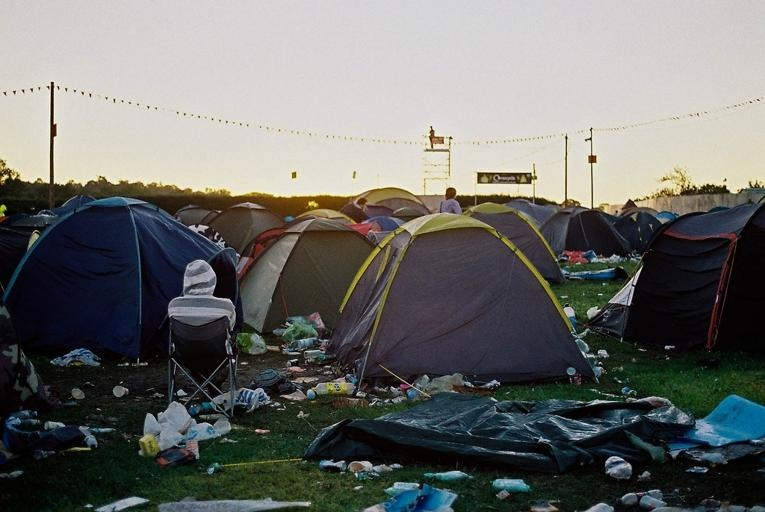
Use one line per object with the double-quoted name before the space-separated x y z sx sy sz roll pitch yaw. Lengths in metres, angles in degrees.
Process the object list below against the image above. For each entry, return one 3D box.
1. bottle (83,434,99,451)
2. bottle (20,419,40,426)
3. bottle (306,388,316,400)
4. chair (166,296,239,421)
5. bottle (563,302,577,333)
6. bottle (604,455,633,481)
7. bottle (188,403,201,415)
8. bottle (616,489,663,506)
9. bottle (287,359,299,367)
"bottle" -3.269 2.058 6.447 0.133 0.082 0.313 -7 13 -29
"bottle" -4.087 1.932 6.697 0.103 0.034 0.079 2 2 -3
"bottle" -0.973 1.875 7.806 0.110 0.104 0.168 2 -7 -6
"chair" -2.333 1.221 7.400 0.866 1.445 0.872 -2 11 -6
"bottle" 3.149 1.042 9.696 0.154 0.561 0.078 0 -38 -11
"bottle" 2.371 2.134 5.807 0.262 0.124 0.261 -1 11 0
"bottle" -2.377 1.930 7.260 0.089 0.065 0.124 -1 48 -9
"bottle" 2.425 2.262 5.384 0.194 0.058 0.194 -3 -1 0
"bottle" -1.428 1.663 9.075 0.114 0.094 0.130 16 8 22
